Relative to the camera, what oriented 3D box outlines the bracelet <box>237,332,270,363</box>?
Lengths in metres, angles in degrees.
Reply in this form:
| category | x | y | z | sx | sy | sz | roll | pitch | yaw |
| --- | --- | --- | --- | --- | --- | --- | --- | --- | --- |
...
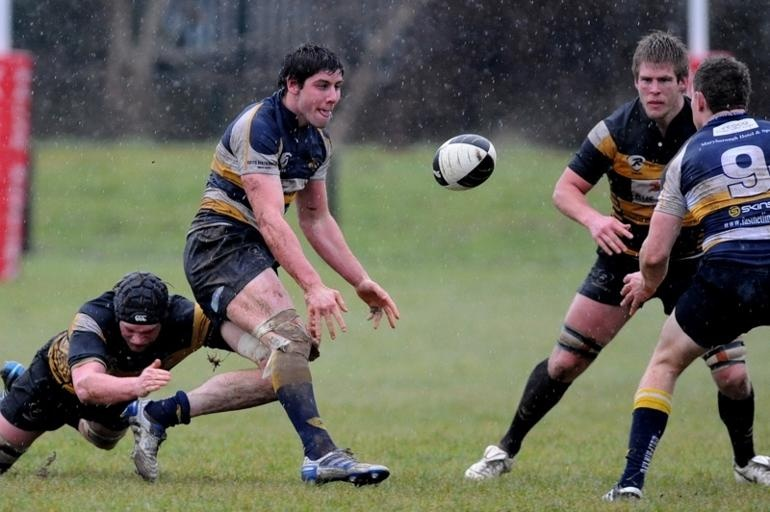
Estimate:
| category | x | y | z | sx | sy | sz | roll | pitch | yaw |
| --- | --- | --- | --- | --- | --- | --- | --- | --- | --- |
| bracelet | -0.954 | 0.663 | 7.452 | 0.238 | 0.178 | 0.095 | 47 | 27 | 4 |

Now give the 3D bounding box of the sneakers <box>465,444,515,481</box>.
| category | x | y | z | sx | sy | sz | roll | pitch | yaw |
| --- | --- | --- | --- | --- | --- | --- | --- | --- | --- |
| sneakers | 0.801 | 1.624 | 7.808 | 0.327 | 0.157 | 0.197 | -17 | 34 | -24 |

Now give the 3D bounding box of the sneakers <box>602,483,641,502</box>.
| category | x | y | z | sx | sy | sz | roll | pitch | yaw |
| --- | --- | --- | --- | --- | --- | --- | --- | --- | --- |
| sneakers | 1.634 | 1.635 | 6.917 | 0.281 | 0.137 | 0.107 | 1 | -5 | 13 |

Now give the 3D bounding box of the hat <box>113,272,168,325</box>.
| category | x | y | z | sx | sy | sz | roll | pitch | yaw |
| --- | --- | --- | --- | --- | --- | --- | --- | --- | --- |
| hat | -1.839 | 0.302 | 7.561 | 0.379 | 0.358 | 0.463 | 5 | 16 | -17 |
